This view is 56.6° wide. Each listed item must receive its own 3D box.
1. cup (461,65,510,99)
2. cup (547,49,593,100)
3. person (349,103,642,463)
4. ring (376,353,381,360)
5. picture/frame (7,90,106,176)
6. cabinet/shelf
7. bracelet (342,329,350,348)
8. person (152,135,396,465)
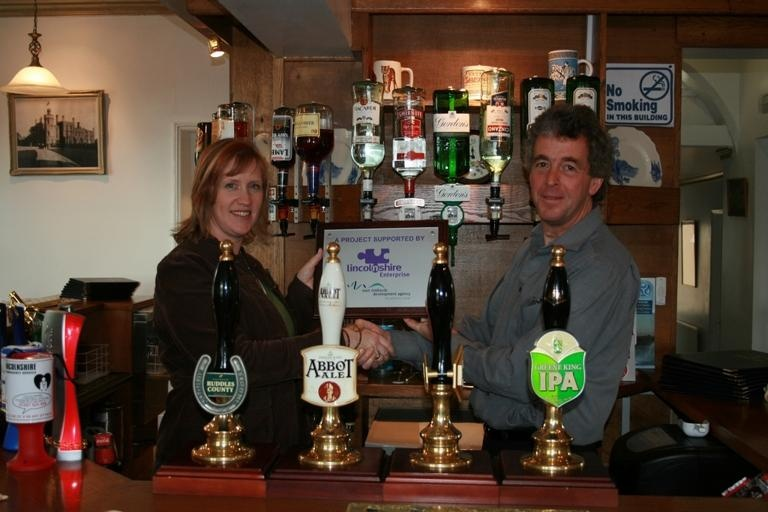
[{"bbox_3d":[0.497,-0.870,3.604,0.158,0.142,0.202,0,1,-2],"label":"cup"},{"bbox_3d":[0.965,-0.947,3.703,0.252,0.227,0.138,-3,17,-6],"label":"cup"},{"bbox_3d":[0.664,0.060,3.227,0.832,1.490,0.700,2,6,39],"label":"person"},{"bbox_3d":[-0.025,0.449,3.197,0.026,0.024,0.008,-1,1,-20],"label":"ring"},{"bbox_3d":[-2.990,-1.171,6.604,0.852,0.699,0.089,1,10,6],"label":"picture/frame"},{"bbox_3d":[-1.878,0.882,5.018,0.772,1.216,0.516,-4,5,-29],"label":"cabinet/shelf"},{"bbox_3d":[-0.168,0.354,3.055,0.041,0.063,0.045,-4,1,18],"label":"bracelet"},{"bbox_3d":[-0.534,0.171,3.044,0.831,1.350,0.600,-5,6,-38],"label":"person"}]
